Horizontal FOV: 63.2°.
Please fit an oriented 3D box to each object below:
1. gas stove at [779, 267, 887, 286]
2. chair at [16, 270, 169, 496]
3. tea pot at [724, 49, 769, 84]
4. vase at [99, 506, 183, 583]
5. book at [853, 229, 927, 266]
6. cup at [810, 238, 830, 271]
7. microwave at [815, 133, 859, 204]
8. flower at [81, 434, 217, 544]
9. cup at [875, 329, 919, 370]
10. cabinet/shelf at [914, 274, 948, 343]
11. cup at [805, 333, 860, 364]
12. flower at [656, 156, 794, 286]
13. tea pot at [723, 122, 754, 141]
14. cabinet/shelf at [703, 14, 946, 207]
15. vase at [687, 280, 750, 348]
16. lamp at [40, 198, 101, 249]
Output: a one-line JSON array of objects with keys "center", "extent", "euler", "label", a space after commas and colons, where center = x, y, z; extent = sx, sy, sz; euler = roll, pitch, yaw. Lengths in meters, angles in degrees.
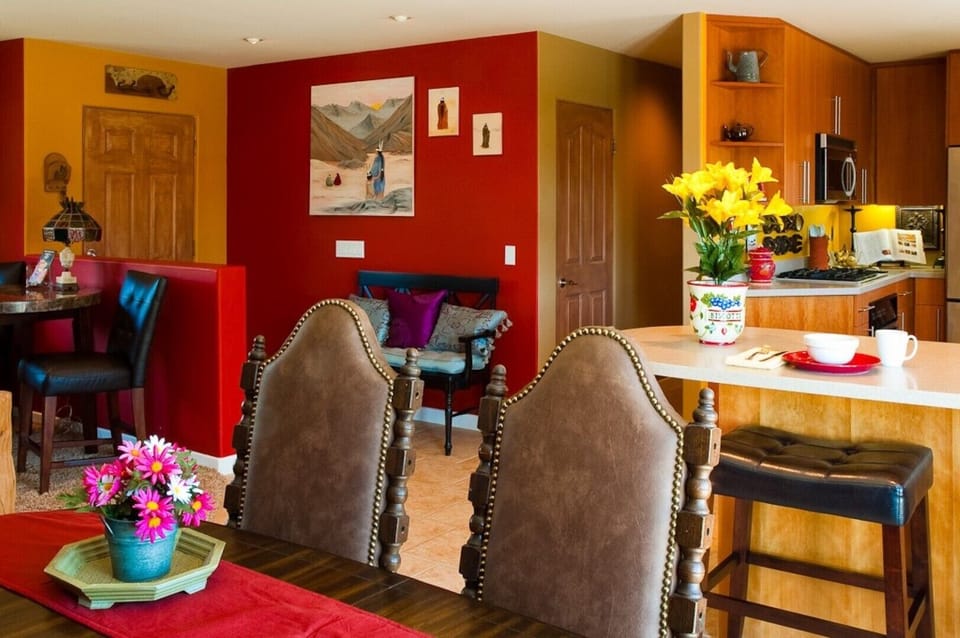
[{"center": [2.646, -0.319, 5.923], "extent": [0.724, 0.096, 0.726], "euler": [2, 3, 26], "label": "gas stove"}, {"center": [-2.443, 0.365, 4.890], "extent": [0.677, 1.182, 0.834], "euler": [4, 6, 40], "label": "chair"}, {"center": [1.888, -1.784, 5.526], "extent": [0.302, 0.279, 0.185], "euler": [1, 3, 6], "label": "tea pot"}, {"center": [-0.780, 0.517, 1.845], "extent": [0.178, 0.147, 0.148], "euler": [0, 1, 17], "label": "vase"}, {"center": [3.749, -0.662, 7.178], "extent": [0.555, 0.356, 0.178], "euler": [0, -6, 24], "label": "book"}, {"center": [2.896, -0.556, 6.602], "extent": [0.215, 0.261, 0.154], "euler": [0, 3, -5], "label": "cup"}, {"center": [2.784, -1.173, 6.107], "extent": [0.372, 0.569, 0.718], "euler": [0, 1, 28], "label": "microwave"}, {"center": [-0.765, 0.388, 1.801], "extent": [0.272, 0.239, 0.168], "euler": [-1, 3, -26], "label": "flower"}, {"center": [1.475, 0.109, 2.819], "extent": [0.227, 0.157, 0.142], "euler": [7, -8, -38], "label": "cup"}, {"center": [3.849, -0.107, 6.640], "extent": [0.095, 0.566, 0.276], "euler": [-2, 4, -37], "label": "cabinet/shelf"}, {"center": [1.223, 0.105, 2.716], "extent": [0.154, 0.098, 0.172], "euler": [2, 3, 22], "label": "cup"}, {"center": [0.959, -0.379, 3.043], "extent": [0.431, 0.480, 0.321], "euler": [0, 3, -8], "label": "flower"}, {"center": [1.855, -1.333, 5.561], "extent": [0.215, 0.116, 0.152], "euler": [2, 1, -12], "label": "tea pot"}, {"center": [2.675, -0.977, 6.059], "extent": [1.419, 1.188, 2.748], "euler": [1, 4, 29], "label": "cabinet/shelf"}, {"center": [0.906, -0.025, 3.173], "extent": [0.249, 0.252, 0.252], "euler": [0, 0, -26], "label": "vase"}, {"center": [-2.784, -0.659, 5.322], "extent": [0.349, 0.333, 0.206], "euler": [2, 3, 22], "label": "lamp"}]
